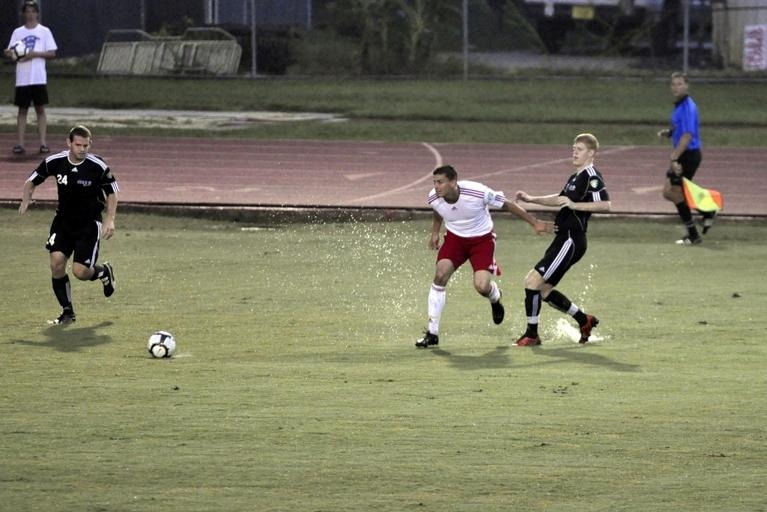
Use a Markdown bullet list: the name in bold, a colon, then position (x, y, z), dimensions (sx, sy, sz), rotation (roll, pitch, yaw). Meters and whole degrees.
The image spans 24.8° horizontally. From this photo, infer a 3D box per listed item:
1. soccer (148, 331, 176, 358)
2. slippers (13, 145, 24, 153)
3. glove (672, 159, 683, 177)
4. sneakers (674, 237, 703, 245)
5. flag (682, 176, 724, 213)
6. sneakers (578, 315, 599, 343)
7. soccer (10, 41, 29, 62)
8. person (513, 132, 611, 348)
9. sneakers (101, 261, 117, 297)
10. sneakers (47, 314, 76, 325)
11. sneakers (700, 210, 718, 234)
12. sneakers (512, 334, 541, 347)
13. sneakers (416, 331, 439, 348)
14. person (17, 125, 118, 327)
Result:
- **soccer**: position (-3.054, 1.175, 23.553), dimensions (0.372, 0.341, 0.378), rotation (-5, -34, -3)
- **slippers**: position (-6.946, -2.030, 32.705), dimensions (0.127, 0.104, 0.275), rotation (0, 0, -8)
- **glove**: position (4.783, -1.473, 28.593), dimensions (0.216, 0.220, 0.138), rotation (17, -16, -29)
- **sneakers**: position (4.989, -0.275, 28.729), dimensions (0.473, 0.143, 0.138), rotation (2, 5, 8)
- **flag**: position (5.210, -1.039, 28.838), dimensions (0.926, 0.558, 0.256), rotation (13, -44, -18)
- **sneakers**: position (2.791, 0.988, 24.190), dimensions (0.250, 0.435, 0.171), rotation (3, 30, -10)
- **soccer**: position (-6.657, -3.745, 31.452), dimensions (0.366, 0.316, 0.340), rotation (-2, 1, -5)
- **person**: position (2.474, -0.259, 24.355), dimensions (1.218, 2.909, 1.080), rotation (2, 8, 6)
- **sneakers**: position (-4.068, 0.237, 25.218), dimensions (0.197, 0.331, 0.122), rotation (-11, 31, -5)
- **sneakers**: position (-4.594, 0.865, 24.578), dimensions (0.374, 0.156, 0.230), rotation (0, 7, -8)
- **sneakers**: position (5.409, -0.618, 29.222), dimensions (0.281, 0.481, 0.193), rotation (4, 6, -3)
- **sneakers**: position (1.930, 1.151, 24.165), dimensions (0.389, 0.118, 0.156), rotation (1, 0, -17)
- **sneakers**: position (0.566, 1.151, 24.021), dimensions (0.386, 0.187, 0.166), rotation (3, 4, -2)
- **person**: position (-4.495, -0.484, 24.912), dimensions (1.218, 2.759, 1.109), rotation (-2, 8, -19)
